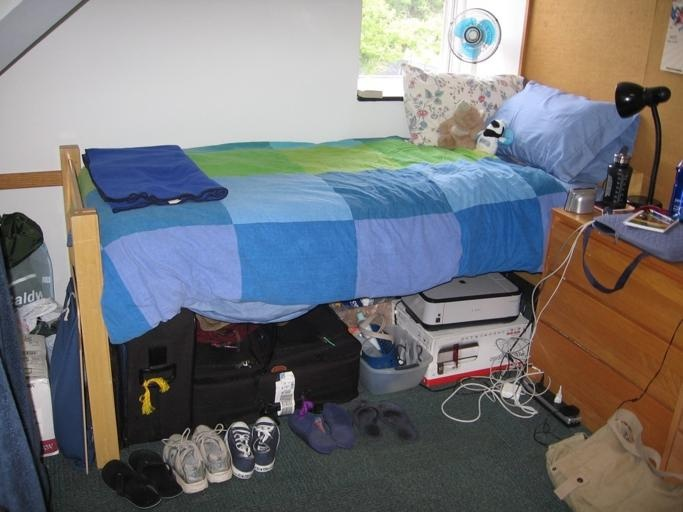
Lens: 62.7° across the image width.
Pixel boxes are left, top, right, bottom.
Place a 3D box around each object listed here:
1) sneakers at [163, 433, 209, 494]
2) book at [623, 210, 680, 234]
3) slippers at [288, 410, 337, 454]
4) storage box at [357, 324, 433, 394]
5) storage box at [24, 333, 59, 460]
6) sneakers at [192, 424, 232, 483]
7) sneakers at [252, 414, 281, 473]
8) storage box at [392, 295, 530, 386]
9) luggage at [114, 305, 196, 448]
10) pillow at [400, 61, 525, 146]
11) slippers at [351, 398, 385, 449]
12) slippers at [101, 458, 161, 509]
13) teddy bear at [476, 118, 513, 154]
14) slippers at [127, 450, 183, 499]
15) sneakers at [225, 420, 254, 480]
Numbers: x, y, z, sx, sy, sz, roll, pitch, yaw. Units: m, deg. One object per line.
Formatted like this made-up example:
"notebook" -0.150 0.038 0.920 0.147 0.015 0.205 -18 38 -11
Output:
"sneakers" -0.675 0.890 2.421 0.123 0.116 0.288 -8 30 -28
"book" 1.377 -0.153 2.478 0.128 0.029 0.142 13 29 30
"slippers" -0.136 0.821 2.643 0.138 0.060 0.211 -8 29 -45
"storage box" 0.290 0.591 3.086 0.399 0.227 0.533 -1 4 2
"storage box" -1.343 0.640 2.515 0.110 0.451 0.328 -3 -1 -7
"sneakers" -0.587 0.853 2.512 0.116 0.109 0.272 -4 34 -27
"sneakers" -0.360 0.851 2.571 0.114 0.115 0.288 4 21 -7
"storage box" 0.726 0.491 2.997 0.589 0.290 0.425 -5 19 -16
"luggage" -0.901 0.549 2.631 0.367 0.627 0.396 -10 21 -40
"pillow" 0.760 -1.028 3.635 0.620 0.551 0.186 0 -6 -8
"slippers" 0.121 0.787 2.764 0.139 0.116 0.295 1 15 -6
"slippers" -0.904 0.957 2.387 0.298 0.091 0.120 29 32 27
"teddy bear" 0.947 -0.739 3.459 0.192 0.209 0.106 33 5 28
"slippers" -0.805 0.921 2.428 0.150 0.093 0.375 -2 16 -43
"sneakers" -0.451 0.919 2.541 0.100 0.090 0.257 12 -1 -13
